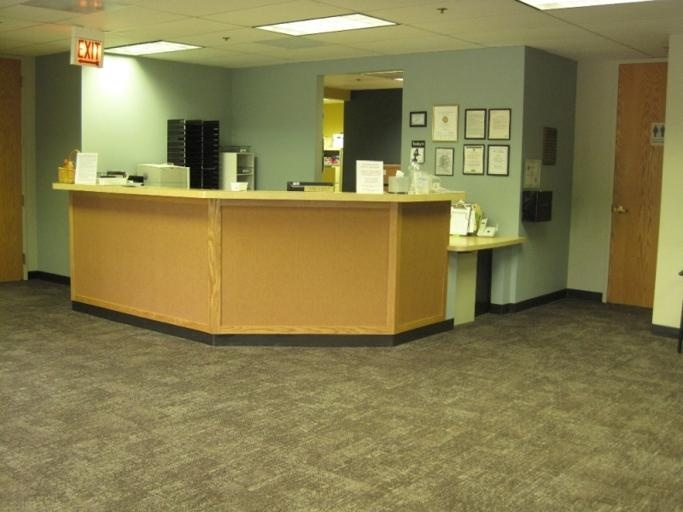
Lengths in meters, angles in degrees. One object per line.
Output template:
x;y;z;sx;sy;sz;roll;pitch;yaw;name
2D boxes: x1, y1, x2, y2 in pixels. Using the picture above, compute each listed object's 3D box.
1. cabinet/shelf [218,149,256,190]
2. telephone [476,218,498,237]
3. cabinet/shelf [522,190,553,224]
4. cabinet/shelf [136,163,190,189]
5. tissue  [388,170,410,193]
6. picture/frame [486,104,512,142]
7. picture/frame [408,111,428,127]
-1.642;-1.378;8.662;0.562;0.599;0.414;0;10;-10;cabinet/shelf
1.786;-0.332;6.806;0.297;0.273;0.229;0;2;14;telephone
2.422;-0.631;6.865;0.210;0.407;0.447;2;4;40;cabinet/shelf
-2.317;-1.050;7.127;0.689;0.276;0.431;10;13;42;cabinet/shelf
0.569;-0.748;5.489;0.224;0.249;0.219;0;5;13;tissue 
1.918;-1.612;6.709;0.301;0.379;0.016;10;24;33;picture/frame
1.014;-1.812;7.233;0.232;0.186;0.020;5;10;33;picture/frame
